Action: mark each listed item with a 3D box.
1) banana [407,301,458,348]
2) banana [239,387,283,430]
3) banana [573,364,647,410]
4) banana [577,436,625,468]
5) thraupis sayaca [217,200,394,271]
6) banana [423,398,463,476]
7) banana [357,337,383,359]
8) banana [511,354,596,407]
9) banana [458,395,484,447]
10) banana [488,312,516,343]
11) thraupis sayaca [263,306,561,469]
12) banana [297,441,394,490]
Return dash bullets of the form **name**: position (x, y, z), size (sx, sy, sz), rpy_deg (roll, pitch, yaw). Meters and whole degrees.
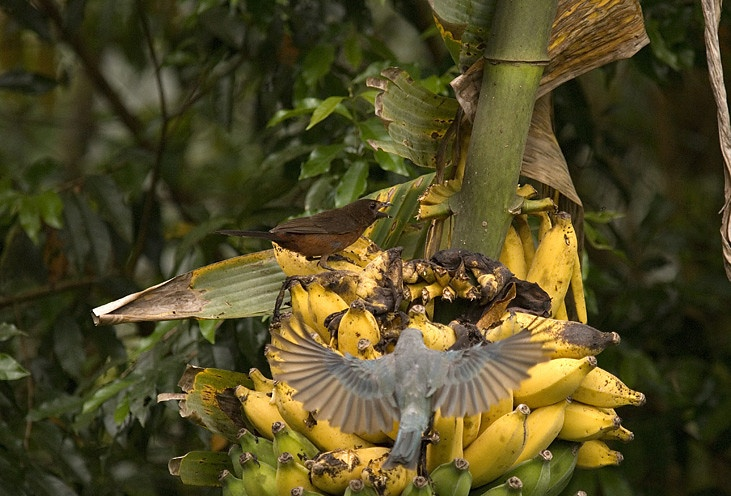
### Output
- **banana**: position (0.245, 0.300, 4.046), size (0.181, 0.124, 0.114), rpy_deg (38, 114, 11)
- **banana**: position (-0.404, 0.624, 4.117), size (0.107, 0.075, 0.226), rpy_deg (-26, 80, 6)
- **banana**: position (0.919, 0.550, 4.115), size (0.348, 0.130, 0.135), rpy_deg (8, 32, 14)
- **banana**: position (0.915, 0.802, 4.151), size (0.097, 0.174, 0.062), rpy_deg (42, 46, -18)
- **thraupis sayaca**: position (-0.250, -0.042, 4.404), size (0.664, 0.219, 0.316), rpy_deg (-1, 79, -12)
- **banana**: position (0.287, 0.713, 3.945), size (0.083, 0.114, 0.305), rpy_deg (24, 70, -29)
- **banana**: position (0.007, 0.379, 3.911), size (0.050, 0.134, 0.046), rpy_deg (-23, 60, -1)
- **banana**: position (0.685, 0.485, 3.939), size (0.237, 0.089, 0.082), rpy_deg (-30, 42, 17)
- **banana**: position (0.396, 0.659, 3.983), size (0.037, 0.101, 0.142), rpy_deg (11, 87, -3)
- **banana**: position (0.521, 0.308, 4.035), size (0.102, 0.083, 0.043), rpy_deg (-34, 88, 19)
- **thraupis sayaca**: position (0.185, 0.471, 3.860), size (0.988, 0.513, 0.616), rpy_deg (-9, 79, 2)
- **banana**: position (-0.091, 0.791, 3.895), size (0.268, 0.138, 0.127), rpy_deg (-13, 70, -29)
